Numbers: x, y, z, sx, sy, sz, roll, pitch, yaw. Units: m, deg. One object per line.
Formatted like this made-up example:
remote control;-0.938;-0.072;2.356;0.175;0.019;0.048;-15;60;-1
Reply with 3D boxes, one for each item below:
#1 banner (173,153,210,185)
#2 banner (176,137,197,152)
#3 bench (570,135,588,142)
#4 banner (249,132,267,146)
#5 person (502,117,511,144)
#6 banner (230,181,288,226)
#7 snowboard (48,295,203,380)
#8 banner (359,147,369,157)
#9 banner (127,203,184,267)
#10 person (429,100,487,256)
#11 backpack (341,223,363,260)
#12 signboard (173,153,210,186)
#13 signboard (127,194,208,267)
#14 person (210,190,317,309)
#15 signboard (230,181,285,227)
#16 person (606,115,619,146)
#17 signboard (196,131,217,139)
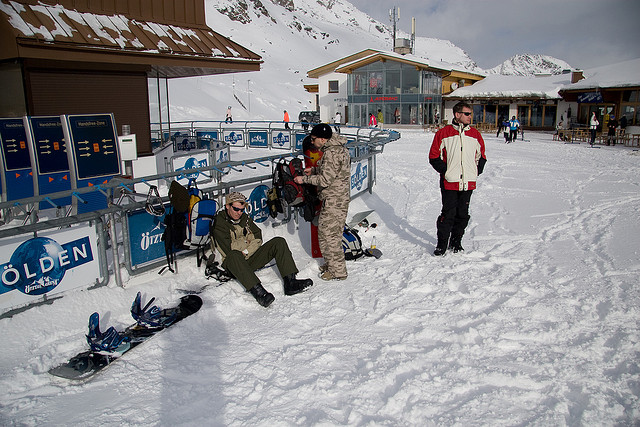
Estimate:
banner;-4.052;-1.418;13.726;0.077;1.024;1.527;15;27;30
banner;-5.641;-2.876;18.428;1.420;0.613;0.191;10;19;39
bench;16.636;-4.878;27.905;0.921;0.354;1.128;6;17;28
banner;-3.554;-4.305;25.255;0.320;0.759;1.442;-15;19;-39
person;11.854;-5.112;27.388;0.382;1.279;2.092;4;16;22
banner;-1.224;-0.174;8.885;0.031;0.933;1.656;5;12;31
snowboard;-2.491;1.620;6.236;0.579;0.267;2.198;18;20;17
banner;1.264;-1.774;12.543;0.055;0.174;0.337;5;13;37
banner;-2.569;0.336;7.068;1.347;0.975;0.118;-14;-14;21
person;2.562;-0.631;8.144;1.000;2.803;0.481;-6;15;-13
backpack;0.742;0.589;8.593;0.353;0.633;0.523;-18;2;27
signboard;-3.478;-1.179;11.649;0.059;0.877;1.312;5;11;42
signboard;-2.568;0.265;7.244;0.048;0.788;1.178;5;11;27
person;-1.035;0.518;7.071;1.060;1.661;1.291;-14;18;-37
signboard;-1.219;-0.194;8.888;0.019;1.002;1.666;2;8;29
person;17.078;-4.823;25.282;0.501;1.703;1.521;7;17;32
signboard;-6.763;-4.673;25.837;1.733;0.384;0.653;12;20;42
